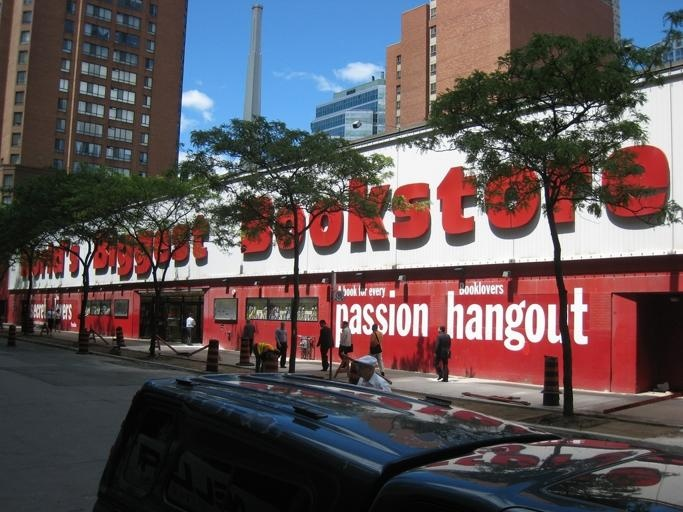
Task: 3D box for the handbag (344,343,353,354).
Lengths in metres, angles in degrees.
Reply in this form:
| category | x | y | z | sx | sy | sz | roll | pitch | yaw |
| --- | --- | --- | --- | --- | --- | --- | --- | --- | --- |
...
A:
| category | x | y | z | sx | sy | sz | roll | pitch | yaw |
| --- | --- | --- | --- | --- | --- | --- | --- | --- | --- |
| handbag | 0.202 | 3.411 | 22.471 | 0.418 | 0.248 | 0.295 | -2 | -3 | -40 |

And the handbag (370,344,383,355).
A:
| category | x | y | z | sx | sy | sz | roll | pitch | yaw |
| --- | --- | --- | --- | --- | --- | --- | --- | --- | --- |
| handbag | 1.209 | 3.330 | 22.069 | 0.351 | 0.365 | 0.568 | -3 | -8 | -4 |

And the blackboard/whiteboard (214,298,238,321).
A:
| category | x | y | z | sx | sy | sz | roll | pitch | yaw |
| --- | --- | --- | --- | --- | --- | --- | --- | --- | --- |
| blackboard/whiteboard | -6.509 | 2.962 | 34.068 | 0.490 | 1.368 | 2.321 | 2 | -9 | -34 |
